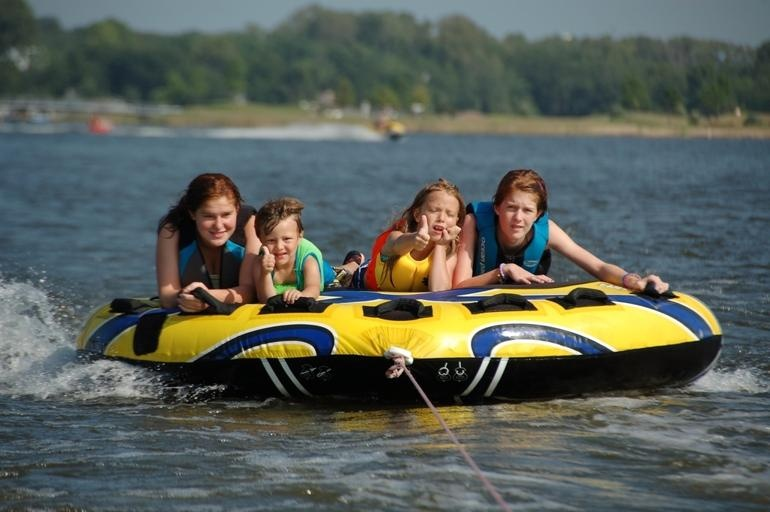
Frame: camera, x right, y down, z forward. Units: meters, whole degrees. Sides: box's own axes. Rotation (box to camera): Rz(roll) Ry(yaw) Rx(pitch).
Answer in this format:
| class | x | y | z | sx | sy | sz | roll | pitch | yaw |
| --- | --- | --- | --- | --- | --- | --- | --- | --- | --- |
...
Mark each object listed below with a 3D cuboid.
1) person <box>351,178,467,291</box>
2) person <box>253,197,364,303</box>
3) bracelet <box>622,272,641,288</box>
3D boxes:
| class | x | y | z | sx | sy | sz | roll | pitch | yaw |
| --- | --- | --- | --- | --- | --- | --- | --- | --- | --- |
| person | 0.202 | 0.005 | 10.549 | 0.814 | 0.832 | 2.077 | 12 | -10 | -18 |
| person | -0.872 | -0.008 | 10.027 | 0.930 | 0.844 | 1.424 | 0 | 14 | 3 |
| bracelet | 2.283 | 0.234 | 9.983 | 0.183 | 0.127 | 0.146 | 1 | 3 | -11 |
